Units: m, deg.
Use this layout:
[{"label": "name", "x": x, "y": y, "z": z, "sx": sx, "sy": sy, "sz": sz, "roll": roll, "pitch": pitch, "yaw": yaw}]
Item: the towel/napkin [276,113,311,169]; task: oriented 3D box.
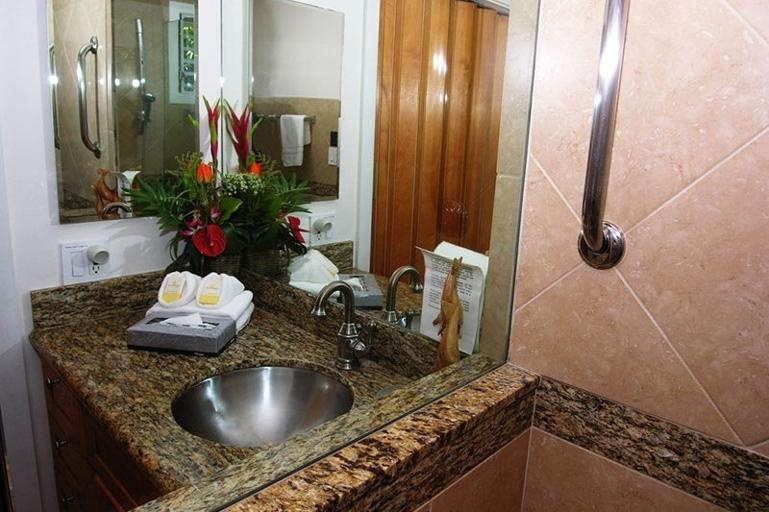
[{"label": "towel/napkin", "x": -0.298, "y": -0.383, "z": 1.759, "sx": 0.135, "sy": 0.179, "sz": 0.056, "roll": 20, "pitch": 30, "yaw": 40}]

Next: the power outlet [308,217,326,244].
[{"label": "power outlet", "x": -0.222, "y": -0.087, "z": 1.752, "sx": 0.050, "sy": 0.098, "sz": 0.068, "roll": 2, "pitch": 10, "yaw": -42}]

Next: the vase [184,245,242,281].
[{"label": "vase", "x": -0.617, "y": 0.025, "z": 1.940, "sx": 0.136, "sy": 0.103, "sz": 0.114, "roll": 2, "pitch": -1, "yaw": -32}]

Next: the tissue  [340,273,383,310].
[{"label": "tissue ", "x": -0.066, "y": 0.112, "z": 1.660, "sx": 0.104, "sy": 0.035, "sz": 0.118, "roll": -1, "pitch": 36, "yaw": -8}]

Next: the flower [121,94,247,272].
[{"label": "flower", "x": -0.641, "y": -0.254, "z": 2.060, "sx": 0.467, "sy": 0.620, "sz": 0.558, "roll": 12, "pitch": 24, "yaw": -6}]

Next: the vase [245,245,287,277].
[{"label": "vase", "x": -0.429, "y": 0.024, "z": 1.941, "sx": 0.109, "sy": 0.084, "sz": 0.126, "roll": 0, "pitch": -4, "yaw": -7}]

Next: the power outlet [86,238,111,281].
[{"label": "power outlet", "x": -0.974, "y": 0.007, "z": 1.806, "sx": 0.052, "sy": 0.180, "sz": 0.086, "roll": 36, "pitch": 36, "yaw": 29}]

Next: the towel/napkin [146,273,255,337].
[{"label": "towel/napkin", "x": -0.621, "y": 0.092, "z": 1.797, "sx": 0.263, "sy": 0.147, "sz": 0.212, "roll": 4, "pitch": 16, "yaw": 3}]

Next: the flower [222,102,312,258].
[{"label": "flower", "x": -0.400, "y": -0.263, "z": 1.848, "sx": 0.328, "sy": 0.558, "sz": 0.326, "roll": -18, "pitch": 29, "yaw": -40}]
